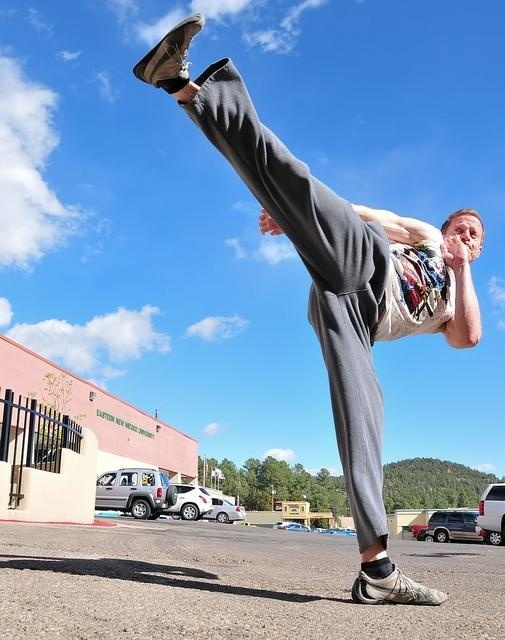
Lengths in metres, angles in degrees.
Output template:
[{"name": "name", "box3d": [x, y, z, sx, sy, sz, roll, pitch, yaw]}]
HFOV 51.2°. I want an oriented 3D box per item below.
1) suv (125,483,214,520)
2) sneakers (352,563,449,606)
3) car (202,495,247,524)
[{"name": "suv", "box3d": [-3.174, 7.174, 21.606, 3.599, 1.400, 1.584, 5, -32, -1]}, {"name": "sneakers", "box3d": [0.511, 0.947, 1.888, 0.315, 0.122, 0.131, 4, -34, -2]}, {"name": "car", "box3d": [-1.375, 9.586, 26.074, 2.930, 1.127, 1.269, 8, -32, 4]}]
